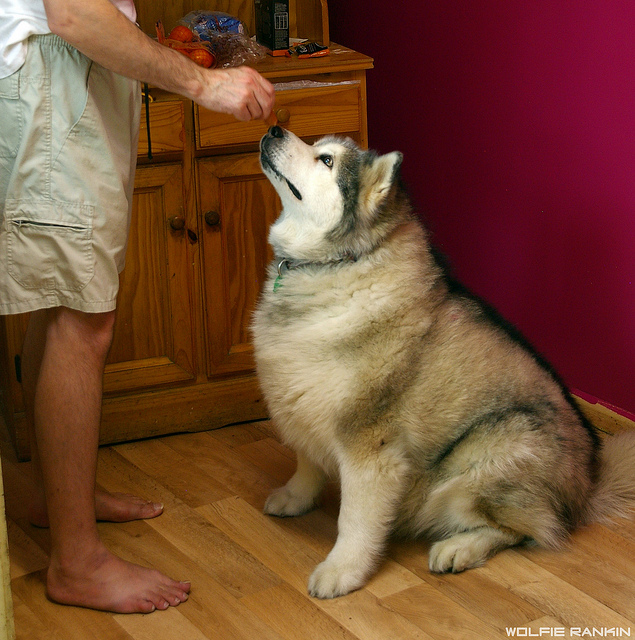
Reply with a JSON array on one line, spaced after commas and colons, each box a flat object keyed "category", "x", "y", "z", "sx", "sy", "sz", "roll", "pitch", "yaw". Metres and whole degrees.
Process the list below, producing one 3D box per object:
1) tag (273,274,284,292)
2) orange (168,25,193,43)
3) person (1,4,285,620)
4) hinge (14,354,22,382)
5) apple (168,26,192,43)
[{"category": "tag", "x": -0.095, "y": -0.105, "z": 1.851, "sx": 0.014, "sy": 0.042, "sz": 0.032, "roll": 13, "pitch": 9, "yaw": -1}, {"category": "orange", "x": -0.466, "y": -0.979, "z": 2.264, "sx": 0.075, "sy": 0.062, "sz": 0.063, "roll": 22, "pitch": 8, "yaw": 31}, {"category": "person", "x": -0.525, "y": -0.035, "z": 1.665, "sx": 0.544, "sy": 1.387, "sz": 0.729, "roll": -6, "pitch": 15, "yaw": -29}, {"category": "hinge", "x": -1.027, "y": 0.164, "z": 2.208, "sx": 0.016, "sy": 0.100, "sz": 0.044, "roll": -9, "pitch": 16, "yaw": -36}, {"category": "apple", "x": -0.468, "y": -0.982, "z": 2.270, "sx": 0.069, "sy": 0.057, "sz": 0.060, "roll": 18, "pitch": 26, "yaw": -6}]
